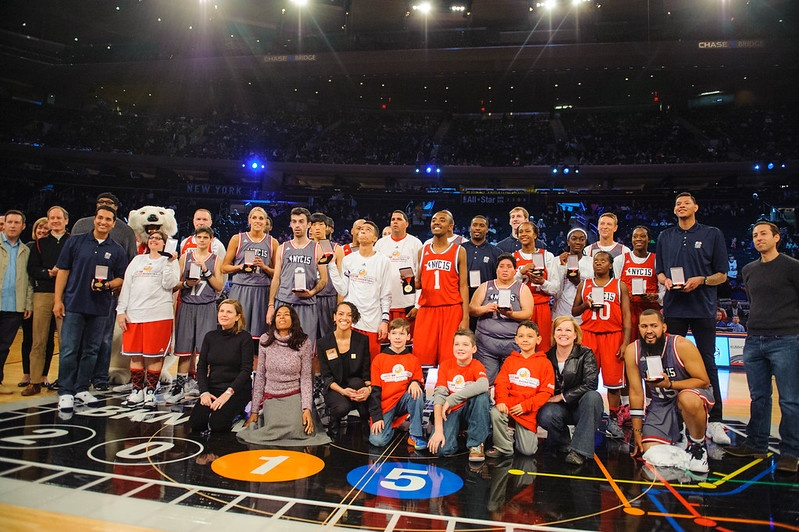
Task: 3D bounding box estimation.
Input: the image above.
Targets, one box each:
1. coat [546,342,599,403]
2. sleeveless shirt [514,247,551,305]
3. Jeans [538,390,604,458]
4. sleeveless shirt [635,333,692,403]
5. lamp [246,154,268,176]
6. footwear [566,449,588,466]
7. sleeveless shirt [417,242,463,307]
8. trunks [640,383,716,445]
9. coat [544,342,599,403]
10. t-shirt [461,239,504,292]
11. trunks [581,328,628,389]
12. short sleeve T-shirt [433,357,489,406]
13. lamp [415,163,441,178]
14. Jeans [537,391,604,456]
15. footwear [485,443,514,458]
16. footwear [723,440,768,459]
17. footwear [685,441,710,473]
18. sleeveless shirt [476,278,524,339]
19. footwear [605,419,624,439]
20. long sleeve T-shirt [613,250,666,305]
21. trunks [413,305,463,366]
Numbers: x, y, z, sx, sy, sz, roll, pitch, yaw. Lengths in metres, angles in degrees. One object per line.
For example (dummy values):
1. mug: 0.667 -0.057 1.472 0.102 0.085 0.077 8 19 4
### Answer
1. coat: 2.665 1.640 8.541 0.767 0.580 0.800 -6 4 -45
2. sleeveless shirt: 2.265 0.197 9.436 0.747 1.030 0.632 -8 -17 20
3. Jeans: 2.659 2.407 8.562 0.979 1.232 0.956 2 -34 21
4. sleeveless shirt: 3.978 1.531 8.359 0.610 1.079 0.745 1 -21 -30
5. lamp: -7.369 -5.148 28.759 1.157 1.154 0.288 5 18 -12
6. footwear: 2.566 2.793 8.126 0.137 0.146 0.349 -15 -42 42
7. sleeveless shirt: 0.719 0.136 9.632 0.771 1.111 0.622 2 4 18
8. trunks: 4.061 2.310 8.368 0.672 1.170 0.587 5 27 10
9. coat: 2.722 1.628 8.617 0.773 0.584 0.806 -6 4 -45
10. t-shirt: 1.420 0.021 9.615 0.875 0.876 0.467 1 -7 4
11. trunks: 3.339 1.480 9.031 0.730 0.909 0.564 -14 -24 38
12. short sleeve T-shirt: 0.908 1.732 8.454 0.568 0.711 0.291 1 -46 18
13. lamp: 1.478 -4.893 28.229 1.344 0.469 0.852 0 -8 -3
14. Jeans: 2.657 2.407 8.543 0.955 1.203 0.932 2 -34 21
15. footwear: 1.493 2.739 8.284 0.400 0.169 0.162 2 -9 5
16. footwear: 5.208 2.777 8.468 0.610 0.289 0.248 3 -19 16
17. footwear: 4.364 2.773 8.133 0.278 0.376 0.514 -4 -8 26
18. sleeveless shirt: 1.671 0.757 9.299 0.803 1.060 0.601 7 14 3
19. footwear: 3.461 2.587 8.949 0.274 0.274 0.336 -1 -8 7
20. long sleeve T-shirt: 4.391 0.215 10.176 0.980 0.949 0.550 3 22 24
21. trunks: 0.649 1.137 9.580 0.888 1.179 0.601 -1 28 -3
